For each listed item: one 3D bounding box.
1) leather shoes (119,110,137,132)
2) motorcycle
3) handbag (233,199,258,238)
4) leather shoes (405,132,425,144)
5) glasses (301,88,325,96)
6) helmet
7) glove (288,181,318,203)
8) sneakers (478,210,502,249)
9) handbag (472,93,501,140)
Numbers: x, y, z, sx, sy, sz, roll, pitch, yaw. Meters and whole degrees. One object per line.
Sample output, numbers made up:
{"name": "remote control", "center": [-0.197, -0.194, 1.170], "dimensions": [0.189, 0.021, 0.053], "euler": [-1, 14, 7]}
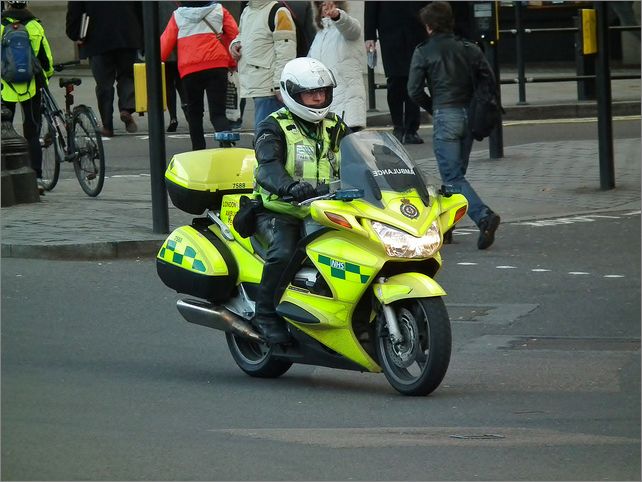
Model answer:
{"name": "leather shoes", "center": [-3.241, -1.997, 18.043], "dimensions": [0.153, 0.452, 0.192], "euler": [-25, 47, -1]}
{"name": "motorcycle", "center": [-0.038, 0.124, 7.053], "dimensions": [2.187, 1.684, 0.666], "euler": [10, 14, 42]}
{"name": "handbag", "center": [-0.494, -0.156, 7.190], "dimensions": [0.194, 0.228, 0.100], "euler": [3, 11, -35]}
{"name": "leather shoes", "center": [1.463, -1.599, 16.826], "dimensions": [0.132, 0.141, 0.343], "euler": [-6, 7, -38]}
{"name": "glasses", "center": [-0.043, -0.961, 6.944], "dimensions": [0.066, 0.033, 0.084], "euler": [3, -10, -43]}
{"name": "helmet", "center": [-0.098, -0.970, 6.962], "dimensions": [0.342, 0.359, 0.428], "euler": [-5, 19, -29]}
{"name": "glove", "center": [-0.112, -0.305, 6.577], "dimensions": [0.154, 0.109, 0.055], "euler": [10, -19, 3]}
{"name": "sneakers", "center": [1.641, -0.102, 10.562], "dimensions": [0.190, 0.390, 0.295], "euler": [2, 10, 6]}
{"name": "handbag", "center": [1.634, -1.241, 10.703], "dimensions": [0.322, 0.467, 0.246], "euler": [1, 10, 0]}
